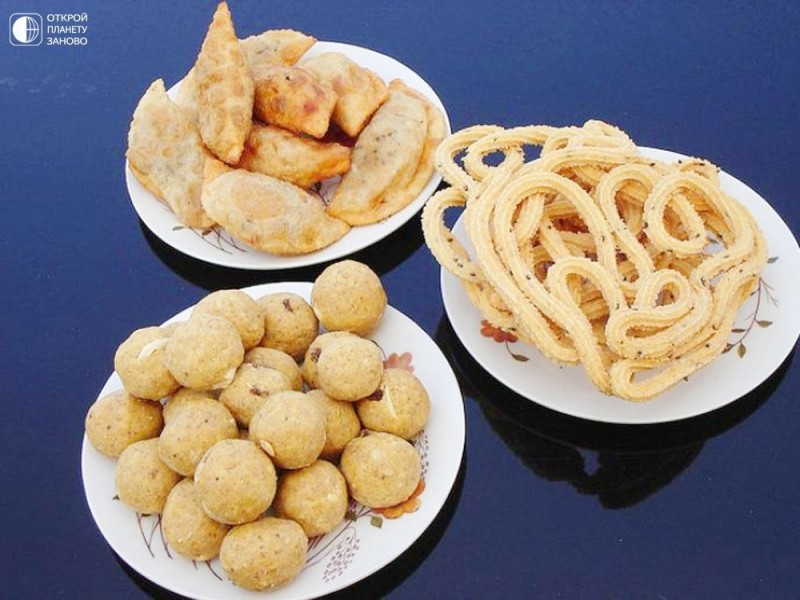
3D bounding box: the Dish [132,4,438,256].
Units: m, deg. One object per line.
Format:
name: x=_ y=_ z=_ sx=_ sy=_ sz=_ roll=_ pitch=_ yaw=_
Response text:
Dish: x=-0.260 y=-0.420 z=2.234 sx=0.714 sy=0.270 sz=0.731 roll=-36 pitch=63 yaw=-16
